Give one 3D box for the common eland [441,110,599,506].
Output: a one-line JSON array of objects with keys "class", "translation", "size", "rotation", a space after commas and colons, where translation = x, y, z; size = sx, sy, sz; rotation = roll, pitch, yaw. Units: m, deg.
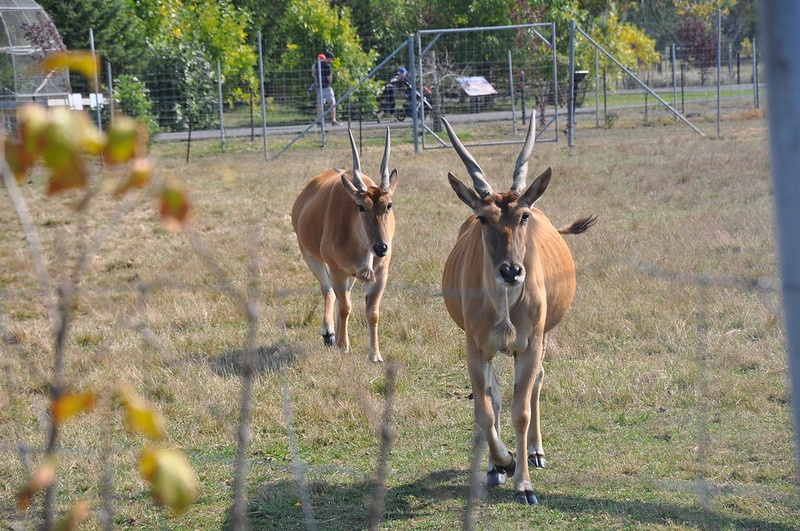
[{"class": "common eland", "translation": [1.607, 0.615, 19.983], "size": [1.818, 5.732, 1.700], "rotation": [-4, 9, -7]}]
